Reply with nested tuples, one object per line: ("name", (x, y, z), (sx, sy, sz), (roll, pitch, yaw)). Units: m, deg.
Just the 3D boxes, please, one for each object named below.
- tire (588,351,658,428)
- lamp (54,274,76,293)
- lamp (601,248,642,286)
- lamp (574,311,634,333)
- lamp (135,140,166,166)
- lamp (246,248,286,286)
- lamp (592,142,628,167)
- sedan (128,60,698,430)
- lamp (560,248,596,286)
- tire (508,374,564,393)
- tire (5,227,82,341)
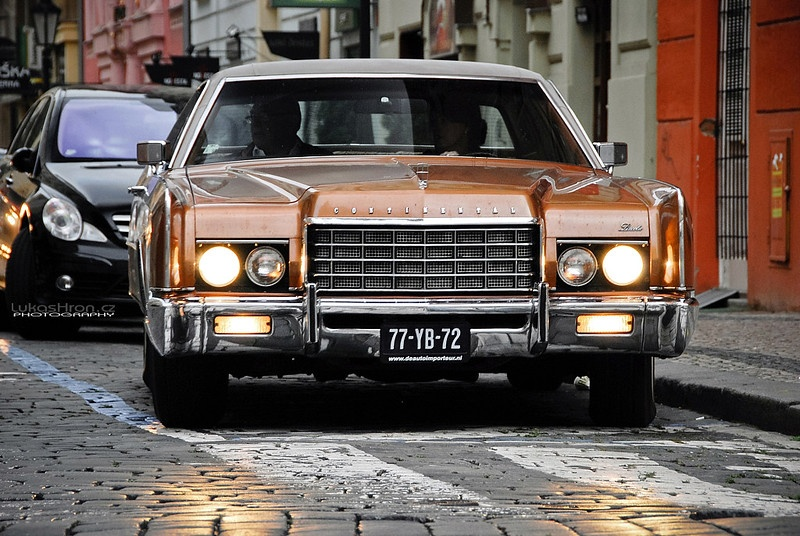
("tire", (1.391, 0.717, 8.022), (0.600, 0.546, 0.431), (0, 2, 7))
("lamp", (-3.229, 0.155, 12.223), (0.166, 0.151, 0.039), (-6, 3, 4))
("lamp", (1.295, -0.008, 7.277), (0.233, 0.215, 0.051), (14, 7, -10))
("lamp", (1.185, 0.324, 7.245), (0.330, 0.120, 0.040), (1, -1, -12))
("lamp", (-1.649, -0.755, 8.469), (0.146, 0.167, 0.260), (0, -1, 3))
("lamp", (-0.740, -0.005, 7.167), (0.244, 0.222, 0.063), (-6, -6, 15))
("lamp", (1.470, -0.781, 8.740), (0.324, 0.204, 0.184), (2, 3, -42))
("sedan", (-0.063, -0.255, 8.438), (3.478, 2.511, 2.774), (1, -1, -7))
("lamp", (1.026, -0.001, 7.245), (0.215, 0.223, 0.048), (1, -1, -16))
("tire", (0.961, 0.820, 8.858), (0.341, 0.092, 0.327), (0, 2, 8))
("tire", (-3.617, 0.173, 12.648), (0.511, 1.088, 0.591), (1, -1, 9))
